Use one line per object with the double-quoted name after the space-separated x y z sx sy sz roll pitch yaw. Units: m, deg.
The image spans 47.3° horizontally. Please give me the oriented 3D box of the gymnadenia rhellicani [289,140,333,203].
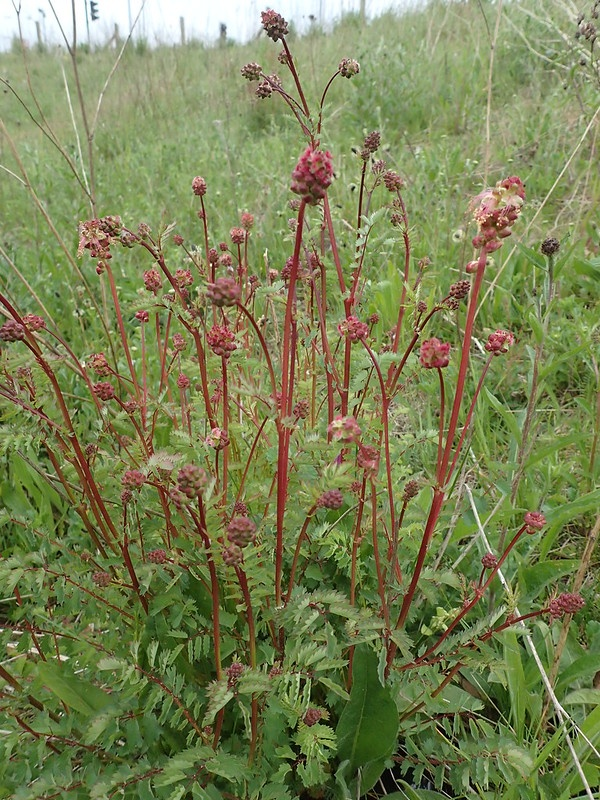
0.021 -0.409 1.269 0.096 0.111 0.096 6 50 -4 "gymnadenia rhellicani"
